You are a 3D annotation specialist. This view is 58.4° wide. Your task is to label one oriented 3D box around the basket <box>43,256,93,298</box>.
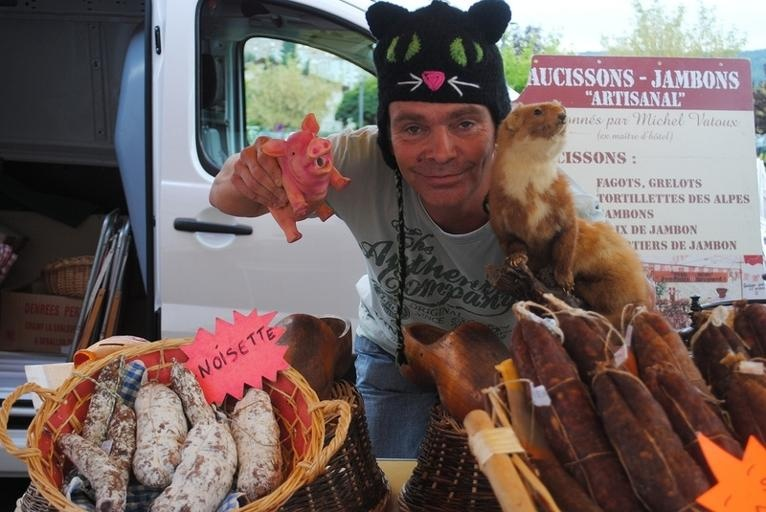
[{"bbox_3d":[-1.534,0.098,3.315,0.180,0.141,0.236,2,-10,-11],"label":"basket"}]
